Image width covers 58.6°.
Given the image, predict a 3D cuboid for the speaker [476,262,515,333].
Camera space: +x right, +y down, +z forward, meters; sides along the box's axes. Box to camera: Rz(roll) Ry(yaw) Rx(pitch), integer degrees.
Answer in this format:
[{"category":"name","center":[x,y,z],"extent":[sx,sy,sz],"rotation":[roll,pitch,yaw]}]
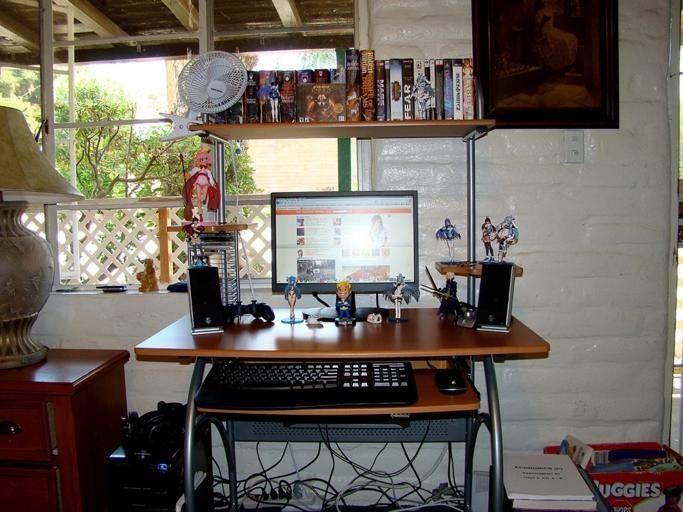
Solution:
[{"category":"speaker","center":[0.625,0.167,2.462],"extent":[0.145,0.282,0.065],"rotation":[4,-3,22]}]

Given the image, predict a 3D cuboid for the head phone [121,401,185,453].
[{"category":"head phone","center":[-0.790,0.714,2.560],"extent":[0.226,0.102,0.158],"rotation":[3,34,-10]}]

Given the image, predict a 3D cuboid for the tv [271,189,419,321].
[{"category":"tv","center":[0.020,-0.021,2.640],"extent":[0.583,0.422,0.164],"rotation":[0,0,3]}]
